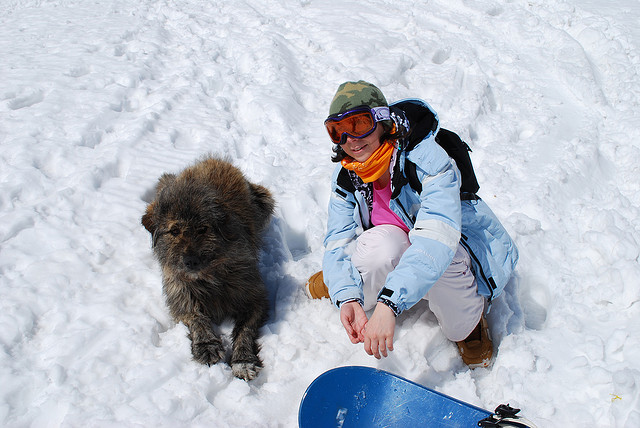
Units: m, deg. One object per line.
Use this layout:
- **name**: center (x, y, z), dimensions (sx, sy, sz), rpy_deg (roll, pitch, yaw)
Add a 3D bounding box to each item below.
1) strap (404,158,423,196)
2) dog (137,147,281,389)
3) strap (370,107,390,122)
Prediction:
- **strap**: center (0.976, -0.404, 5.899), dimensions (0.125, 0.234, 0.321), rpy_deg (-11, 86, -31)
- **dog**: center (-1.557, 0.119, 7.782), dimensions (2.221, 4.714, 1.827), rpy_deg (-6, 115, -12)
- **strap**: center (0.629, -1.046, 5.849), dimensions (0.164, 0.137, 0.134), rpy_deg (-13, 104, -8)
